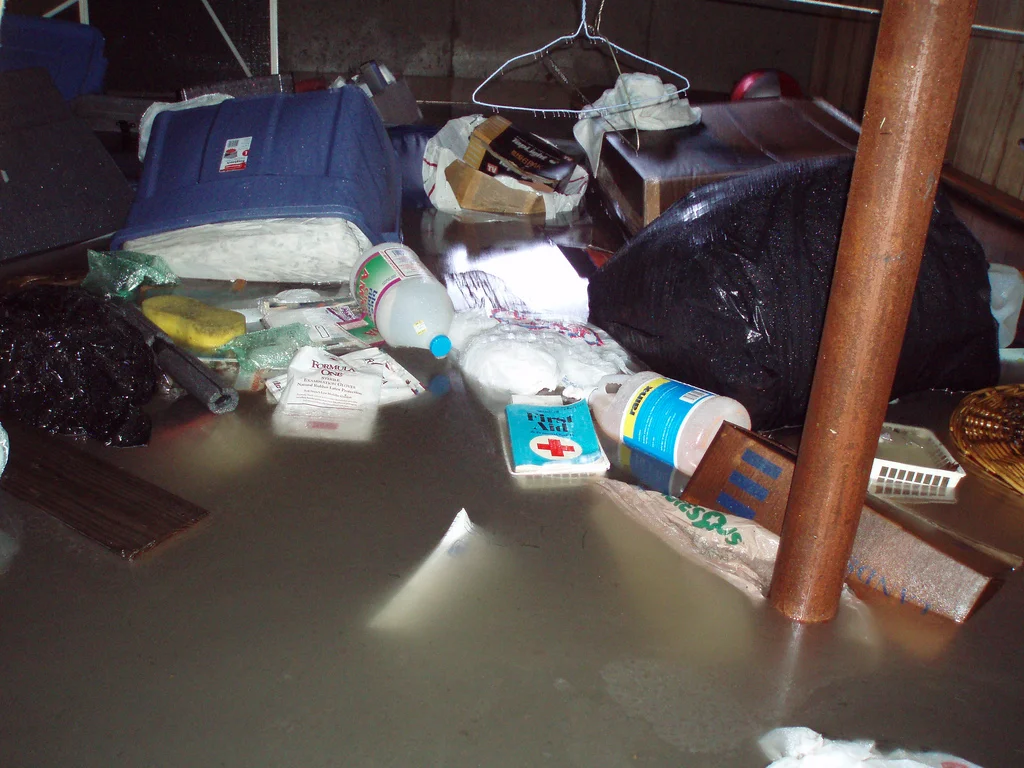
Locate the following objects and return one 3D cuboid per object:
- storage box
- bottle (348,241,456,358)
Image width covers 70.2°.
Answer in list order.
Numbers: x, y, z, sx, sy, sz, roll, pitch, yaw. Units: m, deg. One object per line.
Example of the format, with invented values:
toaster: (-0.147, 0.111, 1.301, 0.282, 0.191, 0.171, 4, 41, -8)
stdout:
storage box: (0.473, 0.214, 1.070, 0.372, 0.113, 0.255, 29, 54, 26)
bottle: (-0.241, -0.168, 1.516, 0.154, 0.154, 0.252, -35, 51, -7)
